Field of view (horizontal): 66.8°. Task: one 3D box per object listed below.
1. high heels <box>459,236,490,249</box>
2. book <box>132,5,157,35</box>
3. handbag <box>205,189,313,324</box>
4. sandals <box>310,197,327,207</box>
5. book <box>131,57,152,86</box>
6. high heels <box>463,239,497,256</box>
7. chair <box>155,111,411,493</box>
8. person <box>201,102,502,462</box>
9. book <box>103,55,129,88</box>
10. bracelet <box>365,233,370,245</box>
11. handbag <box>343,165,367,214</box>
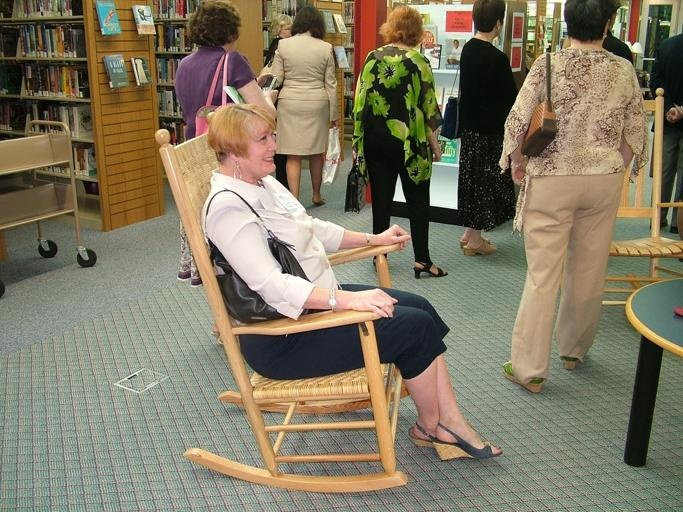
[{"bbox_3d":[1.202,-0.120,4.777,0.299,0.120,0.107,-7,24,0],"label":"high heels"},{"bbox_3d":[-2.000,-2.382,5.270,0.126,0.292,0.223,14,22,34],"label":"book"},{"bbox_3d":[-0.349,0.008,2.045,0.375,0.512,0.248,8,19,20],"label":"handbag"},{"bbox_3d":[-0.270,-0.639,6.118,0.174,0.165,0.080,-17,23,-33],"label":"sandals"},{"bbox_3d":[-2.056,-1.886,5.337,0.108,0.266,0.220,10,20,27],"label":"book"},{"bbox_3d":[1.252,-0.057,4.679,0.261,0.113,0.138,-4,17,-15],"label":"high heels"},{"bbox_3d":[-0.197,0.215,2.295,0.943,1.460,0.790,-2,14,-4],"label":"chair"},{"bbox_3d":[-0.013,0.176,2.218,1.132,1.548,0.633,5,19,14],"label":"person"},{"bbox_3d":[-2.211,-1.792,5.088,0.069,0.302,0.299,-6,6,24],"label":"book"},{"bbox_3d":[0.115,-0.083,2.435,0.035,0.042,0.040,-1,-1,-2],"label":"bracelet"},{"bbox_3d":[0.146,-0.685,5.638,0.196,0.578,0.599,3,15,8],"label":"handbag"}]
